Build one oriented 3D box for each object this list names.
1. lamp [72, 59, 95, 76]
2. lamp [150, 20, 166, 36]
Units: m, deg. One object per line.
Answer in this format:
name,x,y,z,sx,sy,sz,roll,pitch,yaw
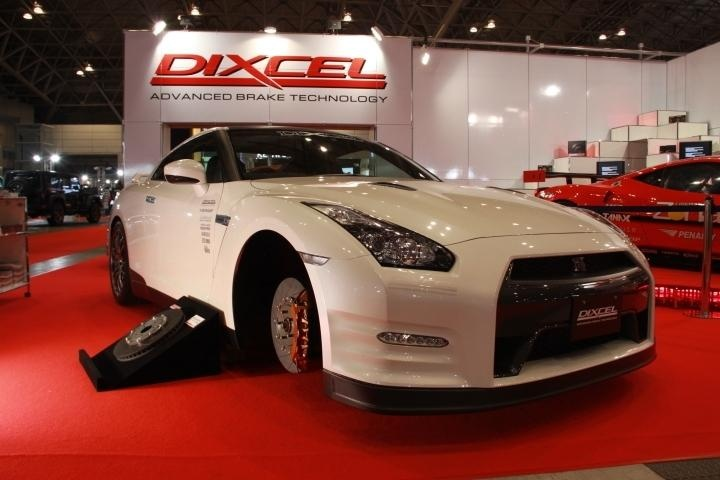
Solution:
lamp,-16.684,-10.259,27.683,1.017,0.458,1.610,-5,15,1
lamp,-4.477,-4.713,10.198,0.269,0.353,0.799,-6,16,-22
